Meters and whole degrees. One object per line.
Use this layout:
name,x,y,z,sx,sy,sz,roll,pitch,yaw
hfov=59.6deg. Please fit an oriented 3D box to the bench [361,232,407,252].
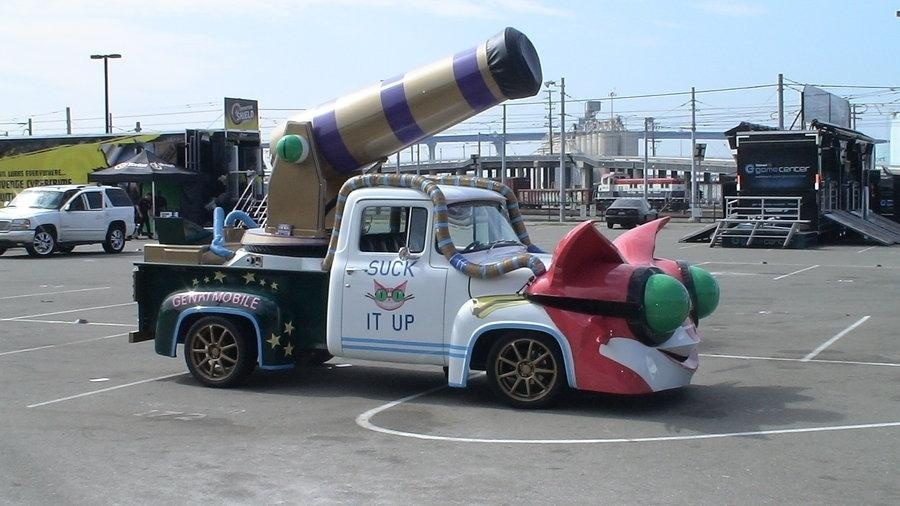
bench,-1.009,-0.176,11.785,0.466,0.440,0.355,-2,-2,16
